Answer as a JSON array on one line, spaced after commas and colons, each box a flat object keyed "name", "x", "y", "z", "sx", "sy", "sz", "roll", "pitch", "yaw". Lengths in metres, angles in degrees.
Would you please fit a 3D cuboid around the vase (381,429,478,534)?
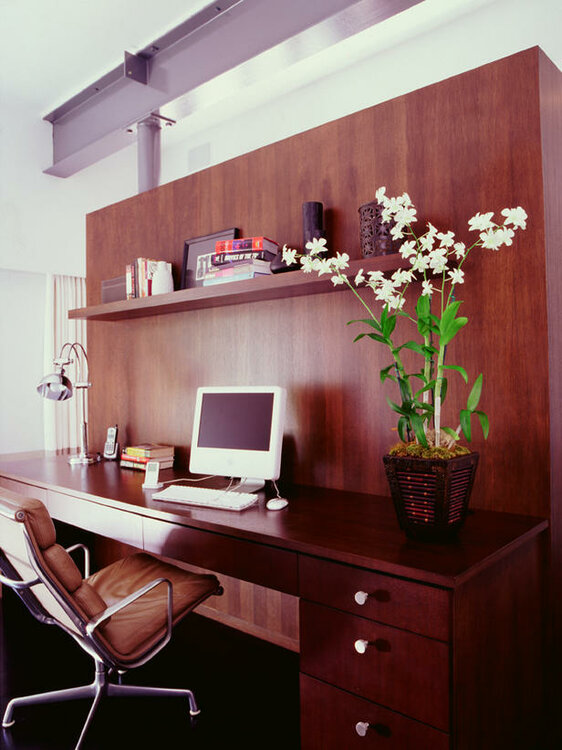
[{"name": "vase", "x": 0.378, "y": 0.279, "z": 1.543, "sx": 0.192, "sy": 0.245, "sz": 0.207, "roll": 2, "pitch": -5, "yaw": -36}]

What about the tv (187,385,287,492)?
[{"name": "tv", "x": -0.152, "y": 0.244, "z": 2.278, "sx": 0.331, "sy": 0.337, "sz": 0.120, "roll": -4, "pitch": -11, "yaw": 42}]
